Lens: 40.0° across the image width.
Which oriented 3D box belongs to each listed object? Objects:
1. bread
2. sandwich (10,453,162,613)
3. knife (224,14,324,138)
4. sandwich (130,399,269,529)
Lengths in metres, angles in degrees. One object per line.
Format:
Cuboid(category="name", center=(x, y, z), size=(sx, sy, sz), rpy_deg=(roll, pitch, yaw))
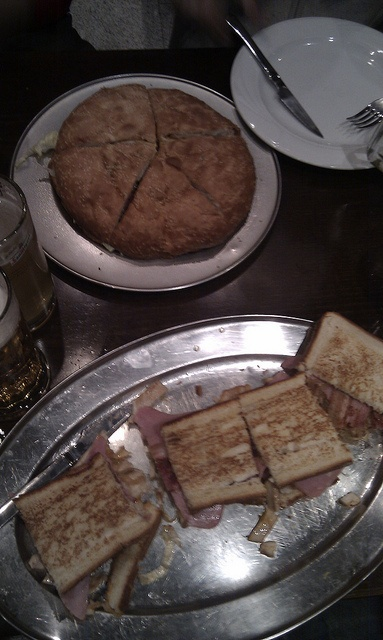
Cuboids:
Cuboid(category="bread", center=(-0.061, -0.255, 0.874), size=(0.331, 0.144, 0.299), rpy_deg=(-13, 51, -9))
Cuboid(category="sandwich", center=(-0.130, 0.256, 0.661), size=(0.152, 0.063, 0.149), rpy_deg=(-37, 59, -25))
Cuboid(category="knife", center=(0.162, -0.458, 0.998), size=(0.044, 0.018, 0.341), rpy_deg=(-29, 78, -4))
Cuboid(category="sandwich", center=(-0.020, 0.186, 0.710), size=(0.091, 0.024, 0.170), rpy_deg=(-29, 77, 7))
